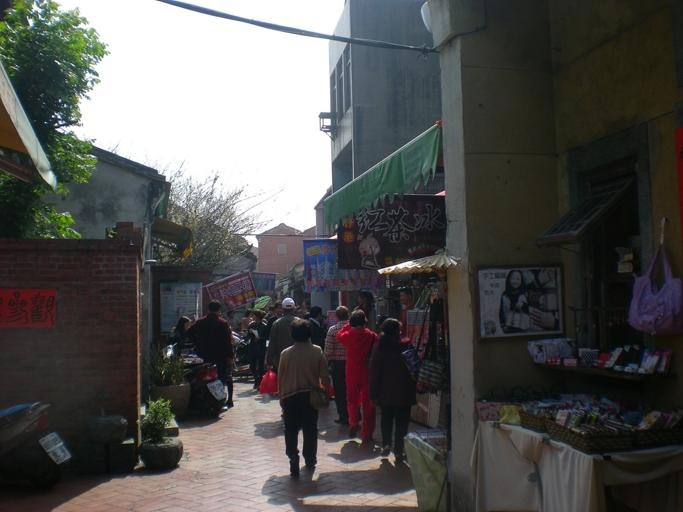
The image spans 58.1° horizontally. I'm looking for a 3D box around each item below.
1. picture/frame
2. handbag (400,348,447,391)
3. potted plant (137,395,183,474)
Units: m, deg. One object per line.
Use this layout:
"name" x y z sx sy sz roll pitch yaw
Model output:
"picture/frame" 1.894 0.528 6.830 0.746 0.719 0.080 -1 -2 -10
"handbag" 1.027 1.458 7.891 0.221 0.441 0.930 1 -2 -18
"potted plant" -2.577 2.557 8.858 0.722 1.236 0.758 1 -10 -8
